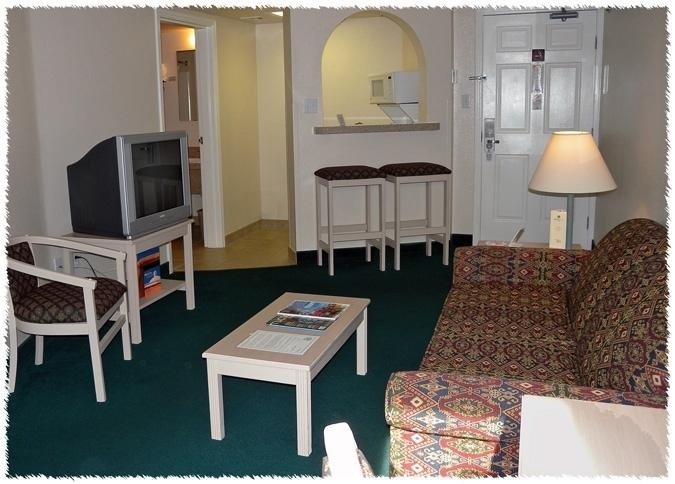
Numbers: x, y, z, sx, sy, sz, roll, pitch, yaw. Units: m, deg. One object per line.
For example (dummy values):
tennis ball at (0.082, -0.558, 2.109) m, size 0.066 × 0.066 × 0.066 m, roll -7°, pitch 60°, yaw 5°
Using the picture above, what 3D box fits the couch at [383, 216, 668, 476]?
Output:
couch at (0.821, 0.435, 2.202) m, size 0.659 × 0.525 × 1.285 m, roll 5°, pitch 20°, yaw 16°

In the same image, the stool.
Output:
stool at (0.427, -0.261, 5.248) m, size 1.291 × 0.930 × 0.492 m, roll -3°, pitch 28°, yaw -3°
